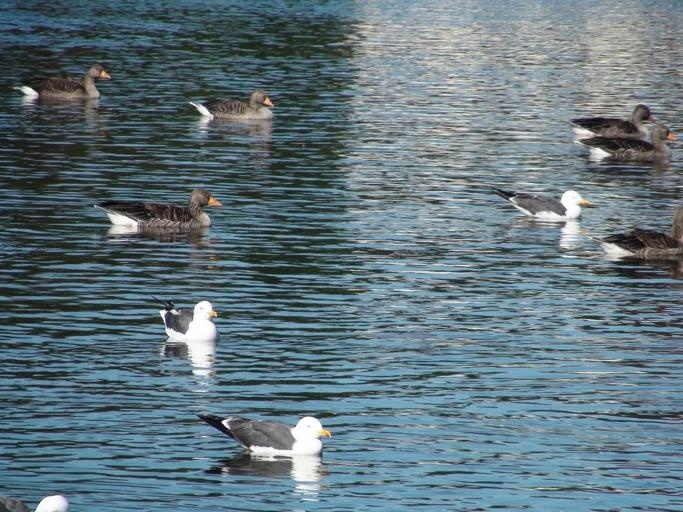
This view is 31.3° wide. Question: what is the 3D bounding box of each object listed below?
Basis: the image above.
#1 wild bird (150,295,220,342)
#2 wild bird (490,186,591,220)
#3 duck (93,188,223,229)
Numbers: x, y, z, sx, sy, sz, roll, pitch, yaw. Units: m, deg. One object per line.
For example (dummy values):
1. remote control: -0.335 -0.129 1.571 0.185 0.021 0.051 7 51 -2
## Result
1. wild bird: -3.597 1.536 28.250 1.164 0.951 0.501 6 10 35
2. wild bird: 6.397 -1.557 38.649 2.469 0.944 0.883 2 8 8
3. duck: -5.458 -1.358 36.303 3.273 1.216 0.678 0 9 -6
